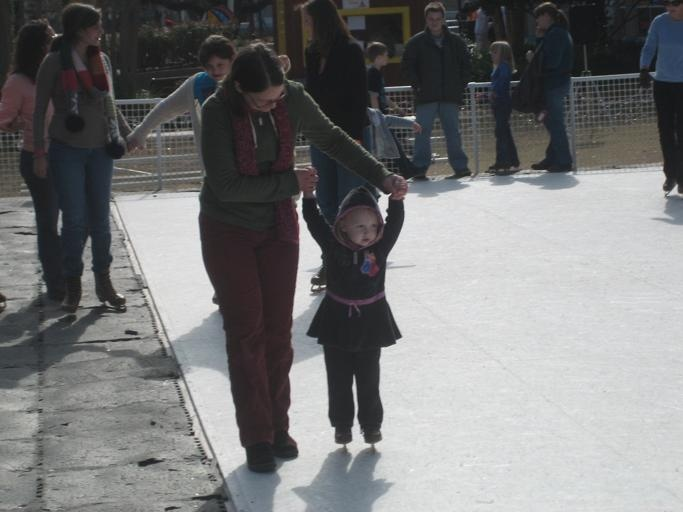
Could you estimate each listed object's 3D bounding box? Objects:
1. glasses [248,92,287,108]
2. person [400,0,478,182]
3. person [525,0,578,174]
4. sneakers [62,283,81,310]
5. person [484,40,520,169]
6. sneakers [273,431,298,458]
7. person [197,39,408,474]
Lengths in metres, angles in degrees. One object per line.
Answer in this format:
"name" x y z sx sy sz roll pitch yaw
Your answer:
"glasses" -0.365 -0.734 4.335 0.189 0.114 0.104 -4 11 -6
"person" 1.244 -2.081 11.860 0.864 2.227 0.529 -4 12 0
"person" 2.698 -2.107 11.711 0.519 2.122 0.586 -4 12 -1
"sneakers" -1.931 0.288 6.600 0.087 0.105 0.237 3 46 -18
"person" 2.131 -1.957 12.277 0.420 1.723 0.781 -2 12 11
"sneakers" -0.280 0.946 4.586 0.079 0.077 0.188 0 -1 -30
"person" -0.380 -0.018 4.625 0.482 2.033 0.827 6 15 37
